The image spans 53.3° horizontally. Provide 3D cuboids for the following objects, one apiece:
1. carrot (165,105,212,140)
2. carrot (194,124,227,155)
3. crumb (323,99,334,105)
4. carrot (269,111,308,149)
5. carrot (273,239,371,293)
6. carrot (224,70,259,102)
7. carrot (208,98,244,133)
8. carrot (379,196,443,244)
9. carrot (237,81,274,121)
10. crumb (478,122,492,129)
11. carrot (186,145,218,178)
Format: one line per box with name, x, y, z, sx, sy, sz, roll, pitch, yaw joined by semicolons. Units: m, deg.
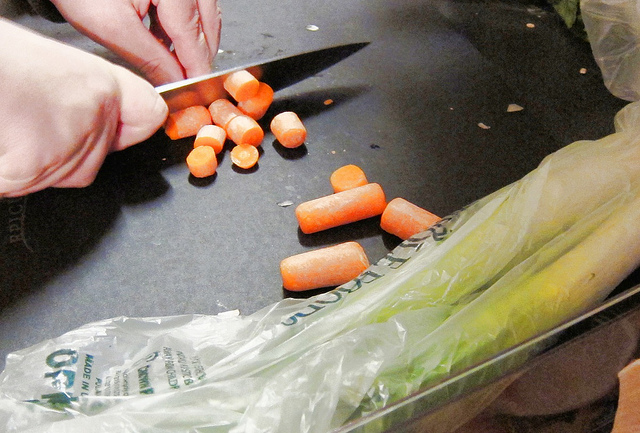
carrot;-0.651;-0.469;3.125;0.195;0.163;0.115;-19;57;-16
carrot;-0.526;-0.392;3.079;0.140;0.132;0.106;21;50;-9
crumb;0.045;-0.603;3.317;0.040;0.011;0.022;-26;74;-24
carrot;-0.145;-0.469;3.167;0.162;0.167;0.202;-13;56;2
carrot;0.018;0.216;2.736;0.372;0.127;0.188;-12;43;-7
carrot;-0.387;-0.654;3.219;0.148;0.143;0.172;-58;33;11
carrot;-0.469;-0.513;3.175;0.109;0.068;0.194;-33;47;-15
carrot;0.412;0.048;2.860;0.265;0.201;0.188;21;86;49
carrot;-0.316;-0.599;3.308;0.179;0.172;0.197;-9;83;44
crumb;0.830;-0.466;3.231;0.039;0.010;0.025;31;48;6
carrot;-0.556;-0.264;3.030;0.135;0.091;0.138;23;51;30
